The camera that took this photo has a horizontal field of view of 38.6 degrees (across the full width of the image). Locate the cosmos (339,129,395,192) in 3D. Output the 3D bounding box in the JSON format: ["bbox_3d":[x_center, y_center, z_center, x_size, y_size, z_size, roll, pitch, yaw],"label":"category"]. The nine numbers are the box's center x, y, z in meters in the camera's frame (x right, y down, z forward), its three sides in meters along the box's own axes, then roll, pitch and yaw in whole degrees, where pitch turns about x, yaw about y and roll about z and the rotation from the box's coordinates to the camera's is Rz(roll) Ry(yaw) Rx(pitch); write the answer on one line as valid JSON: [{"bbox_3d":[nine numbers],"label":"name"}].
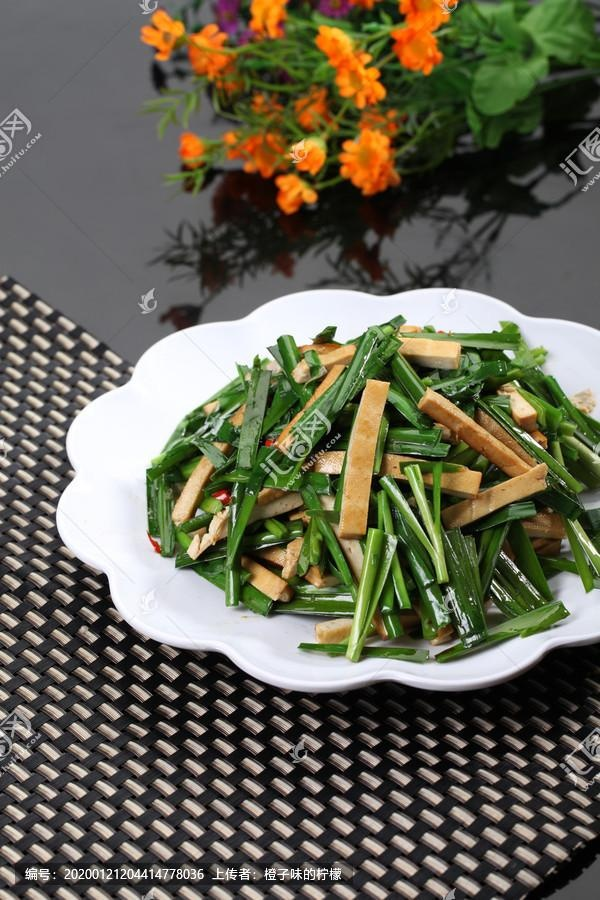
[{"bbox_3d":[0.122,-0.539,1.588,0.045,0.111,0.096,-13,66,-43],"label":"cosmos"}]
